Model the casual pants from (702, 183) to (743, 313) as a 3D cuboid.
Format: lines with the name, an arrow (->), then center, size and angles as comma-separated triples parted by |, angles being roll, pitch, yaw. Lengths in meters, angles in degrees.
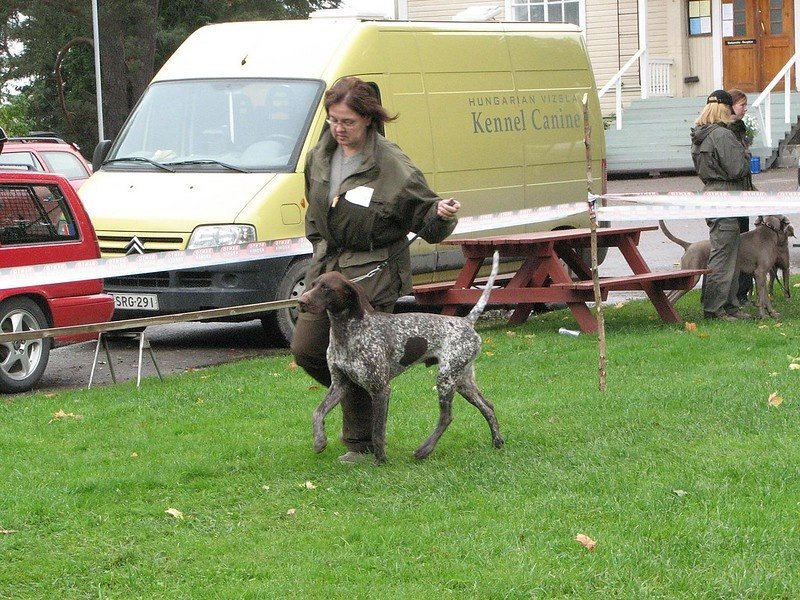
casual pants -> 3.454, -0.323, 13.631 | 0.399, 1.068, 0.361 | -5, 9, 6

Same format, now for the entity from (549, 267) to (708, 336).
entity -> 2.490, -0.096, 13.466 | 0.656, 0.475, 1.726 | -10, -1, 38

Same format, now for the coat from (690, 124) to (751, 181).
coat -> 3.445, -1.566, 13.636 | 0.468, 0.615, 0.648 | -20, 18, -20

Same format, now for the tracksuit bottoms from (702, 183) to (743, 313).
tracksuit bottoms -> 3.454, -0.324, 13.632 | 0.399, 1.068, 0.363 | -5, 9, 6

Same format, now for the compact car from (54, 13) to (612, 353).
compact car -> -0.659, -1.613, 15.493 | 3.146, 3.363, 6.780 | 7, 14, 39

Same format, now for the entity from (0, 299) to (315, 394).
entity -> -2.446, 0.377, 11.901 | 2.584, 0.736, 1.923 | -10, 10, -28

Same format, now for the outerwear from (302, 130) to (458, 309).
outerwear -> -0.179, -0.660, 10.136 | 0.792, 1.383, 1.643 | -9, 23, -38
